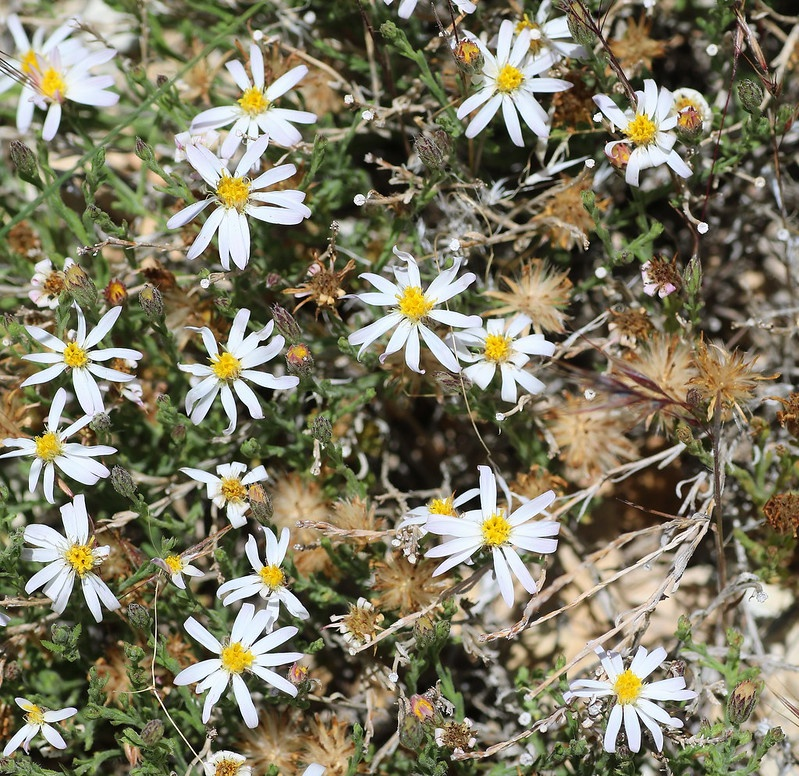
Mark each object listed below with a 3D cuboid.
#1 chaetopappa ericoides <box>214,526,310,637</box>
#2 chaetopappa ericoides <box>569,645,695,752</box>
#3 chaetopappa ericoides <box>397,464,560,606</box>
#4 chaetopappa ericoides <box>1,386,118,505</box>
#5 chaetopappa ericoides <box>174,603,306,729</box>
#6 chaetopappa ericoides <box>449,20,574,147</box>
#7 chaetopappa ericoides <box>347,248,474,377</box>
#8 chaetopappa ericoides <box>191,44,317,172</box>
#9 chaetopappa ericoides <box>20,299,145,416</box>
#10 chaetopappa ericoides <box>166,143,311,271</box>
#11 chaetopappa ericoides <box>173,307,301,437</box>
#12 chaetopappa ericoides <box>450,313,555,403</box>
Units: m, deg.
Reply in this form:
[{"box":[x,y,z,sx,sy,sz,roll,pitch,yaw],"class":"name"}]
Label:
[{"box":[-0.202,0.291,1.325,0.162,0.167,0.055,15,90,-34],"class":"chaetopappa ericoides"},{"box":[0.351,0.460,1.290,0.152,0.171,0.070,-28,99,22],"class":"chaetopappa ericoides"},{"box":[0.137,0.222,1.280,0.212,0.240,0.084,-1,100,2],"class":"chaetopappa ericoides"},{"box":[-0.523,0.106,1.367,0.169,0.073,0.191,16,76,-3],"class":"chaetopappa ericoides"},{"box":[-0.235,0.419,1.336,0.184,0.148,0.174,2,80,1],"class":"chaetopappa ericoides"},{"box":[0.188,-0.472,1.358,0.155,0.078,0.190,18,81,3],"class":"chaetopappa ericoides"},{"box":[0.029,-0.113,1.333,0.192,0.151,0.198,11,80,3],"class":"chaetopappa ericoides"},{"box":[-0.244,-0.472,1.397,0.173,0.177,0.045,23,95,33],"class":"chaetopappa ericoides"},{"box":[-0.493,-0.037,1.371,0.178,0.050,0.185,31,96,10],"class":"chaetopappa ericoides"},{"box":[-0.267,-0.303,1.339,0.171,0.202,0.050,17,101,14],"class":"chaetopappa ericoides"},{"box":[-0.270,-0.022,1.341,0.224,0.235,0.079,-18,65,40],"class":"chaetopappa ericoides"},{"box":[0.151,-0.046,1.341,0.124,0.115,0.060,-14,74,5],"class":"chaetopappa ericoides"}]
